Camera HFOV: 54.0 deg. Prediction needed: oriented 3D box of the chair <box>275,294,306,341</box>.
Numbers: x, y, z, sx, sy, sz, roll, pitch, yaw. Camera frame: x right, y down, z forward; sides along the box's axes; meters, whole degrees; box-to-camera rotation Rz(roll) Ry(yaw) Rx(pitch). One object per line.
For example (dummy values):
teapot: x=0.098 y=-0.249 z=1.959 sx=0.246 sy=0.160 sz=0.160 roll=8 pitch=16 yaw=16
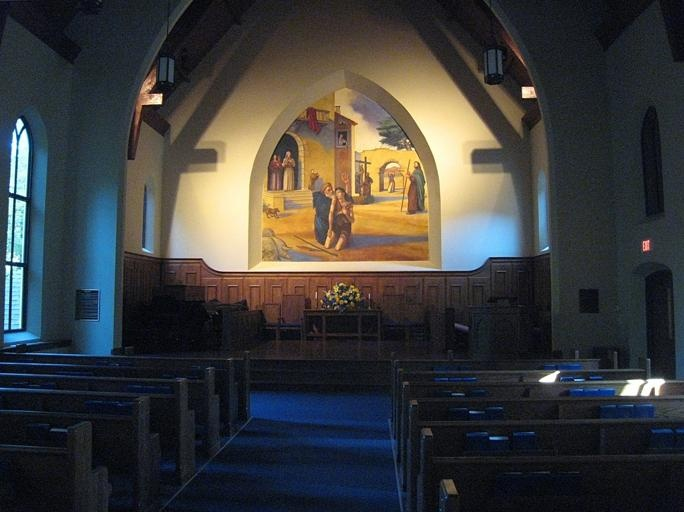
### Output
chair: x=-1.206 y=1.529 z=16.166 sx=0.653 sy=1.218 sz=0.727 roll=1 pitch=-2 yaw=7

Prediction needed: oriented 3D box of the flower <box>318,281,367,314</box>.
flower: x=0.069 y=0.957 z=15.590 sx=0.728 sy=0.510 sz=0.696 roll=-1 pitch=-1 yaw=-14
